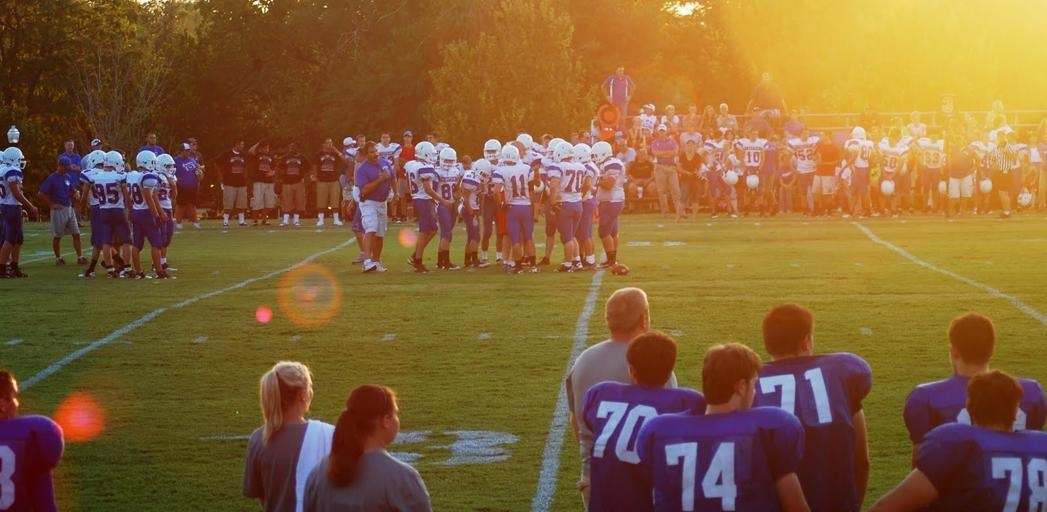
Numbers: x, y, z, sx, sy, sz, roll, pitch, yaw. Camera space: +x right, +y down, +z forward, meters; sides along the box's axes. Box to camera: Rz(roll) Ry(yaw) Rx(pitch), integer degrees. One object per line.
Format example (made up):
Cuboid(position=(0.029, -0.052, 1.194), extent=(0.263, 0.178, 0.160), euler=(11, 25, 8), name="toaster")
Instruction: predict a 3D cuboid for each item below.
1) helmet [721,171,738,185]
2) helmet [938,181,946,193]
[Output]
Cuboid(position=(6.944, -2.627, 29.453), extent=(0.357, 0.446, 0.702), euler=(1, 4, 38), name="helmet")
Cuboid(position=(13.486, -2.255, 28.624), extent=(0.216, 0.365, 0.666), euler=(0, 4, 29), name="helmet")
